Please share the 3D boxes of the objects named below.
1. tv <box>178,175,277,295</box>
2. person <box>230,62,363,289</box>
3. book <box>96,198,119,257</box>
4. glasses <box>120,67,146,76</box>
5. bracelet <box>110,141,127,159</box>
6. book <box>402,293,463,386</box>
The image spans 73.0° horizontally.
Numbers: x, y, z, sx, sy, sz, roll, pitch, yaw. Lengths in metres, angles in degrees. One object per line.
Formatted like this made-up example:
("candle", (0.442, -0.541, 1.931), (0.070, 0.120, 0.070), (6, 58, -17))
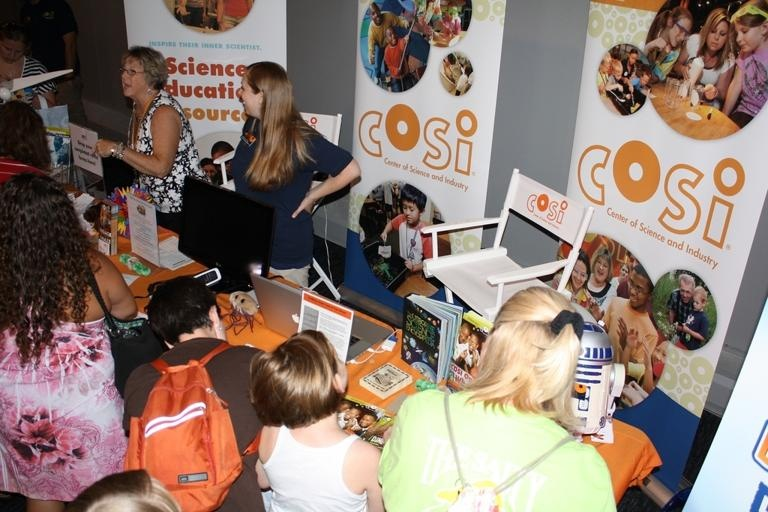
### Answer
("tv", (-0.885, -0.121, 3.002), (0.518, 0.392, 0.274), (25, 32, 28))
("person", (-0.599, -0.621, 3.551), (0.592, 2.017, 0.906), (-14, 42, -30))
("book", (-1.787, -0.182, 3.355), (0.193, 0.423, 0.056), (29, 30, 27))
("glasses", (-1.719, -1.257, 3.529), (0.222, 0.048, 0.068), (20, 23, 36))
("bracelet", (-1.850, -0.728, 3.628), (0.102, 0.130, 0.289), (-4, 21, -29))
("book", (0.237, 0.371, 2.735), (0.316, 0.482, 0.398), (8, 21, 11))
